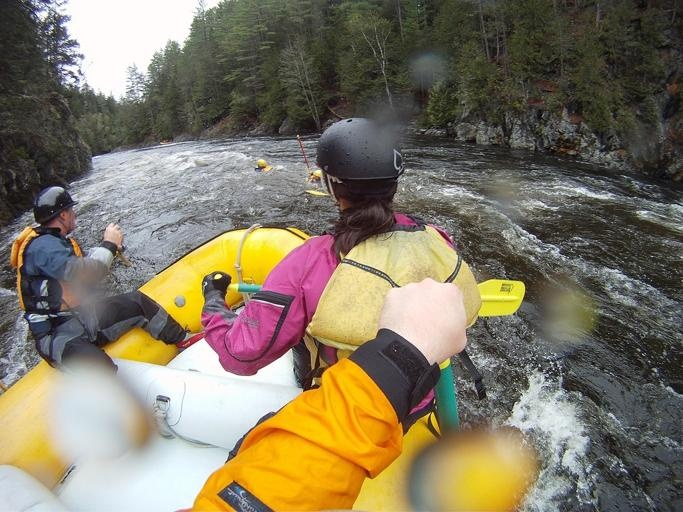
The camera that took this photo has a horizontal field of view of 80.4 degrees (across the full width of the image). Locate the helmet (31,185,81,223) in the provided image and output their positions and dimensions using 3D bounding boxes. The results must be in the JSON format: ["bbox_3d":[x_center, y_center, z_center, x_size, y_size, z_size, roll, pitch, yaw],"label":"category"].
[{"bbox_3d":[-3.008,-0.512,4.211,0.310,0.334,0.419,12,29,27],"label":"helmet"}]
